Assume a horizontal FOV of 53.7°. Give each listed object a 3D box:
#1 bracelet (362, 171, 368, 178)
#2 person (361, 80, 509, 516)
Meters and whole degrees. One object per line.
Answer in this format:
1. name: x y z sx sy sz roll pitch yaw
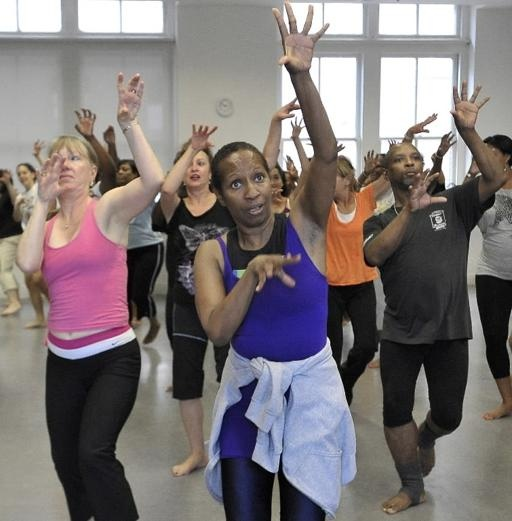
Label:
1. bracelet: 1.029 -0.814 4.750 0.033 0.041 0.041 1 -11 -1
2. person: 0.701 0.187 2.145 0.492 1.757 0.533 -5 9 -20
